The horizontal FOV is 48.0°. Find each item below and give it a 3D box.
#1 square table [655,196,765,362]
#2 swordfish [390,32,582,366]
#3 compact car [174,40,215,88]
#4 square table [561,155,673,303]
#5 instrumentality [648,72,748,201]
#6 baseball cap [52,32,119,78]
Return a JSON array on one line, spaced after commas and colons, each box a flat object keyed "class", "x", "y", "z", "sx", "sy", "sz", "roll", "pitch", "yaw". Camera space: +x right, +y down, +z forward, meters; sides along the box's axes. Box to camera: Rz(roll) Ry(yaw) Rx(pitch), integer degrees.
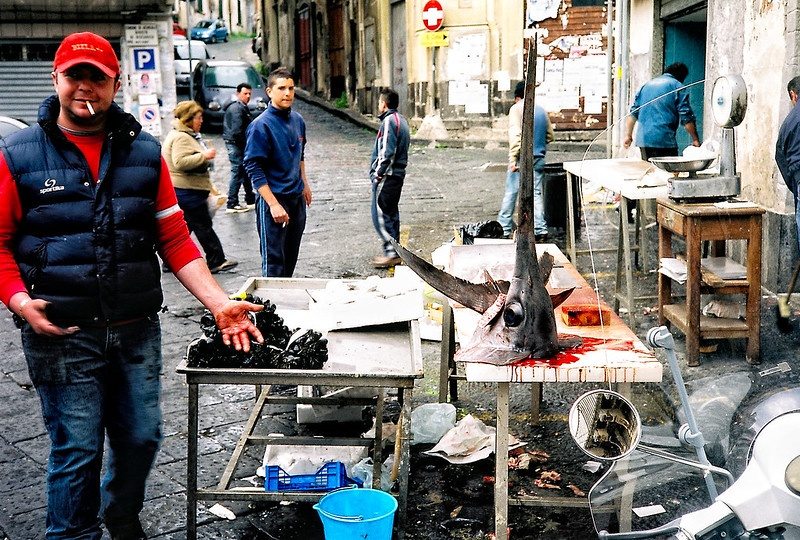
[{"class": "square table", "x": 2.521, "y": 0.094, "z": 7.310, "sx": 0.677, "sy": 1.297, "sz": 1.228, "roll": -1, "pitch": 7, "yaw": -1}, {"class": "swordfish", "x": 0.590, "y": -0.410, "z": 5.438, "sx": 0.927, "sy": 1.861, "sz": 0.978, "roll": 7, "pitch": 15, "yaw": 33}, {"class": "compact car", "x": -6.619, "y": -6.537, "z": 28.719, "sx": 1.366, "sy": 1.348, "sz": 2.920, "roll": -3, "pitch": 19, "yaw": -10}, {"class": "square table", "x": 2.165, "y": -0.381, "z": 8.923, "sx": 0.660, "sy": 1.056, "sz": 1.429, "roll": -3, "pitch": 15, "yaw": -5}, {"class": "instrumentality", "x": 2.336, "y": -0.998, "z": 7.063, "sx": 0.668, "sy": 1.017, "sz": 0.756, "roll": 3, "pitch": 14, "yaw": 20}, {"class": "baseball cap", "x": -1.816, "y": -1.225, "z": 5.194, "sx": 0.351, "sy": 0.254, "sz": 0.243, "roll": -6, "pitch": 14, "yaw": -19}]
